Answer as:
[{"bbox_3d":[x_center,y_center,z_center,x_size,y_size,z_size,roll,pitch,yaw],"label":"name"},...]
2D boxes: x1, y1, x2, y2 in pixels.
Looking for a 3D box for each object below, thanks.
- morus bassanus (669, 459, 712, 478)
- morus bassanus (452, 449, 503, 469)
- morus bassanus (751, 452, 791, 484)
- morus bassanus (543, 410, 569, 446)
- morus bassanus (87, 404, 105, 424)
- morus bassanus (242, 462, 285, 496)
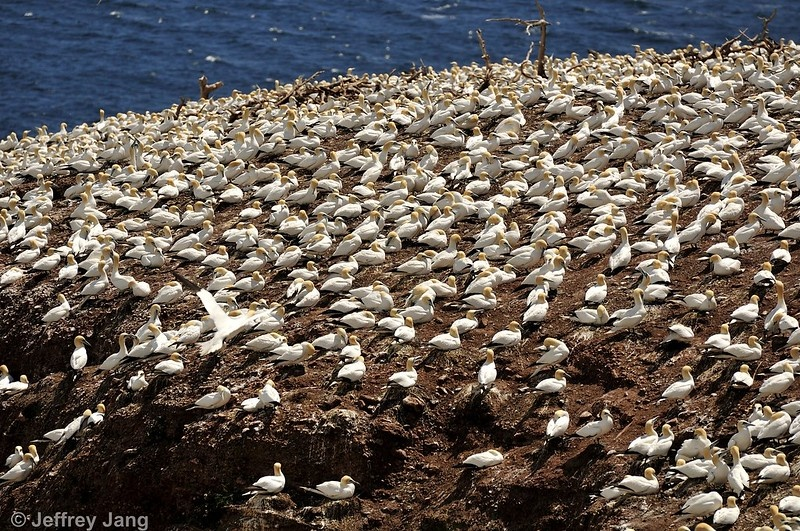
[{"bbox_3d":[7.384,5.195,24.532,1.046,0.494,0.441,8,6,11],"label":"morus bassanus"},{"bbox_3d":[2.169,5.257,25.761,1.086,0.351,0.494,-5,5,5],"label":"morus bassanus"},{"bbox_3d":[9.448,5.189,24.225,0.866,0.768,0.456,5,34,-7],"label":"morus bassanus"},{"bbox_3d":[4.185,4.432,25.694,1.120,0.597,0.382,-31,46,-28],"label":"morus bassanus"},{"bbox_3d":[-8.797,4.336,27.822,0.474,0.464,0.575,0,33,-15],"label":"morus bassanus"},{"bbox_3d":[-3.665,5.896,25.968,1.188,0.731,0.611,-5,1,-15],"label":"morus bassanus"}]
